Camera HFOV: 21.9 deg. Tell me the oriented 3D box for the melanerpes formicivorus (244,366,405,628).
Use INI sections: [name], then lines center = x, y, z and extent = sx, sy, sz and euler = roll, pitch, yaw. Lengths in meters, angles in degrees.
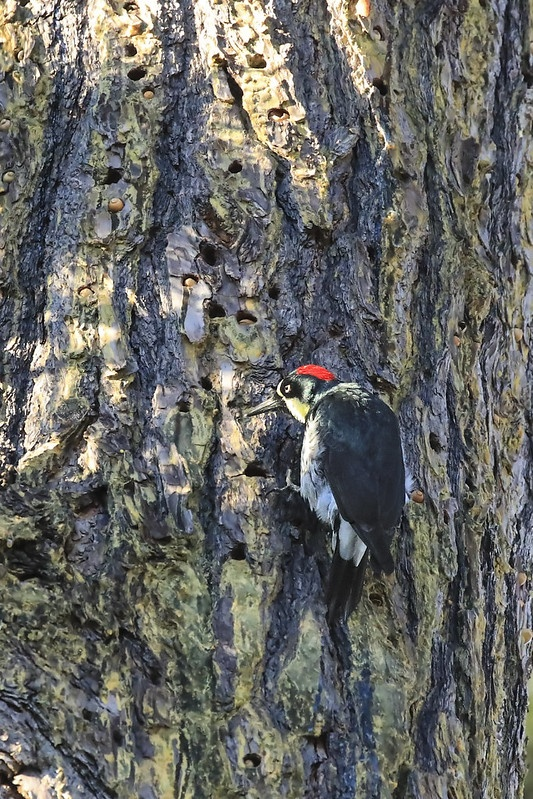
[melanerpes formicivorus]
center = 0.182, 0.201, 4.201
extent = 0.283, 1.081, 0.406
euler = 1, -24, -28
